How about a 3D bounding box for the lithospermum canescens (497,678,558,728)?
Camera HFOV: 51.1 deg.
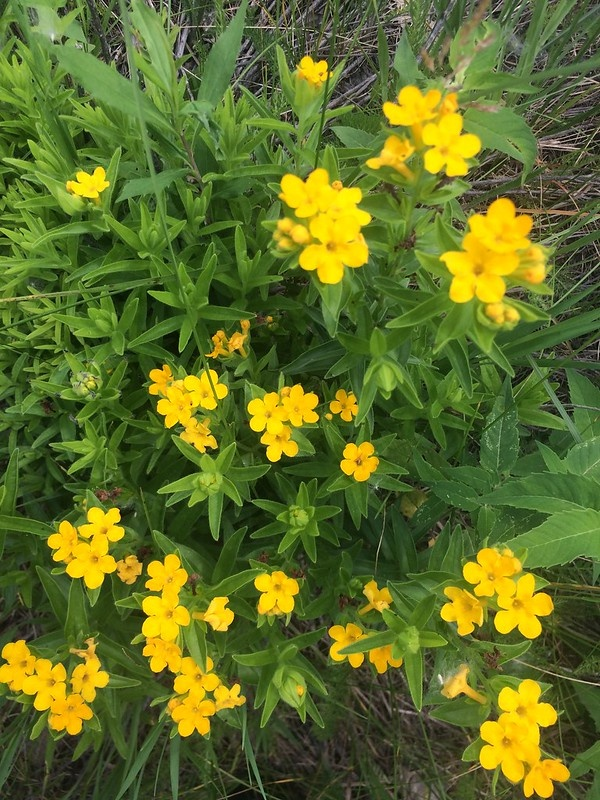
[{"bbox_3d":[0.622,0.845,1.752,0.148,0.040,0.150,29,64,-4],"label":"lithospermum canescens"}]
